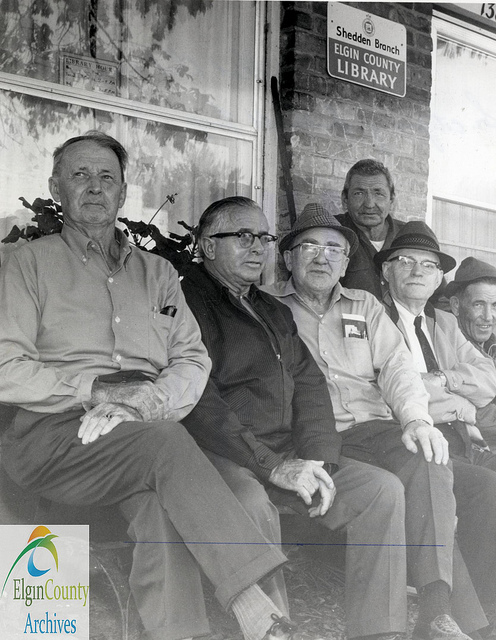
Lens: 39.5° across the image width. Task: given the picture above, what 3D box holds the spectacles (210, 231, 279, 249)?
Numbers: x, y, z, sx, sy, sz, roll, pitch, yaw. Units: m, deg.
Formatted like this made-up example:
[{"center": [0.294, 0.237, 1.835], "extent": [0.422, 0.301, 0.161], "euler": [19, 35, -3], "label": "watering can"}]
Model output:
[{"center": [-0.014, -0.325, 2.741], "extent": [0.266, 0.069, 0.080], "euler": [0, 8, -15], "label": "spectacles"}]

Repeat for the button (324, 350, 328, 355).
[{"center": [0.318, 0.131, 2.817], "extent": [0.014, 0.015, 0.003], "euler": [4, -12, -19], "label": "button"}]

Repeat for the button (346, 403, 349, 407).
[{"center": [0.395, 0.337, 2.738], "extent": [0.010, 0.014, 0.008], "euler": [-1, 8, -20], "label": "button"}]

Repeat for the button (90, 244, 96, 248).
[{"center": [-0.524, -0.255, 2.326], "extent": [0.019, 0.011, 0.003], "euler": [-2, 9, -29], "label": "button"}]

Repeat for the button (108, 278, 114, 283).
[{"center": [-0.460, -0.137, 2.302], "extent": [0.013, 0.015, 0.003], "euler": [0, -13, -24], "label": "button"}]

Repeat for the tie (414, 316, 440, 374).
[{"center": [0.813, 0.120, 3.148], "extent": [0.069, 0.280, 0.070], "euler": [3, -30, -18], "label": "tie"}]

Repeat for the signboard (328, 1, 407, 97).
[{"center": [0.620, -1.468, 3.685], "extent": [0.550, 0.425, 0.008], "euler": [4, -4, -39], "label": "signboard"}]

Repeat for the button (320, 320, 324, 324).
[{"center": [0.309, 0.004, 2.869], "extent": [0.016, 0.014, 0.014], "euler": [3, 8, 2], "label": "button"}]

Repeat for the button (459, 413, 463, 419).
[{"center": [0.932, 0.420, 3.020], "extent": [0.015, 0.023, 0.005], "euler": [-1, -11, -3], "label": "button"}]

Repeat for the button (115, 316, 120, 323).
[{"center": [-0.427, -0.004, 2.248], "extent": [0.015, 0.019, 0.002], "euler": [-1, -9, -29], "label": "button"}]

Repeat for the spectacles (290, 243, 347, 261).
[{"center": [0.299, -0.292, 2.879], "extent": [0.220, 0.068, 0.071], "euler": [3, 8, 3], "label": "spectacles"}]

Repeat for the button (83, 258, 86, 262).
[{"center": [-0.545, -0.205, 2.294], "extent": [0.010, 0.011, 0.002], "euler": [3, -6, -24], "label": "button"}]

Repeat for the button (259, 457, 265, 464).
[{"center": [0.043, 0.442, 2.164], "extent": [0.014, 0.016, 0.004], "euler": [0, -11, -3], "label": "button"}]

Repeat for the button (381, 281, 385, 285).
[{"center": [0.635, -0.181, 3.243], "extent": [0.014, 0.016, 0.004], "euler": [1, -4, -3], "label": "button"}]

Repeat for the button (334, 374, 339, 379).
[{"center": [0.359, 0.227, 2.791], "extent": [0.014, 0.016, 0.004], "euler": [5, -23, -14], "label": "button"}]

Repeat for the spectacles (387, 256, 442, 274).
[{"center": [0.766, -0.262, 3.186], "extent": [0.231, 0.074, 0.092], "euler": [4, 8, 11], "label": "spectacles"}]
